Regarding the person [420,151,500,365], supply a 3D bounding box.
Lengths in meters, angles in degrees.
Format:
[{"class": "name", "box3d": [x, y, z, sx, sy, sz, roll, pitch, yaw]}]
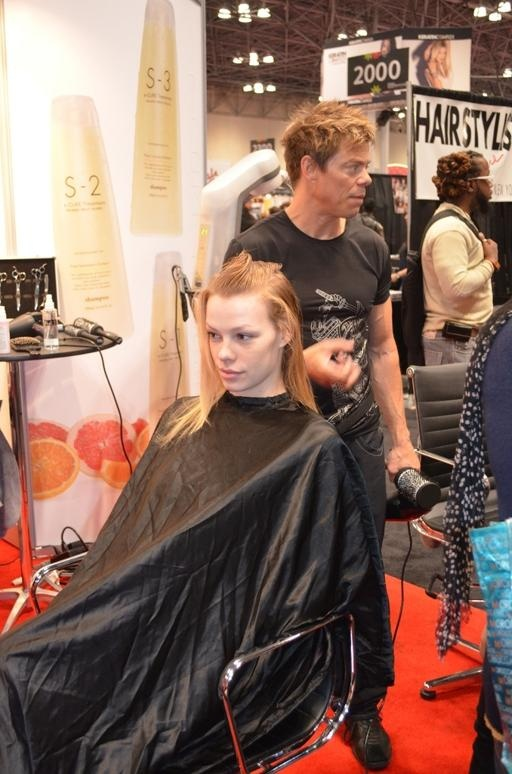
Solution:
[{"class": "person", "box3d": [1.050, -0.660, 3.121, 0.374, 1.122, 0.485, 2, 7, 18]}]

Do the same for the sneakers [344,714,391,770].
[{"class": "sneakers", "box3d": [0.289, 0.913, 1.594, 0.077, 0.091, 0.218, -3, -5, -10]}]

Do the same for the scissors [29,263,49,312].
[{"class": "scissors", "box3d": [-0.798, -0.367, 2.250, 0.058, 0.174, 0.019, -11, 39, -25]}]

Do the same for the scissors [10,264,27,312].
[{"class": "scissors", "box3d": [-0.863, -0.368, 2.204, 0.054, 0.146, 0.007, -5, 36, -16]}]
